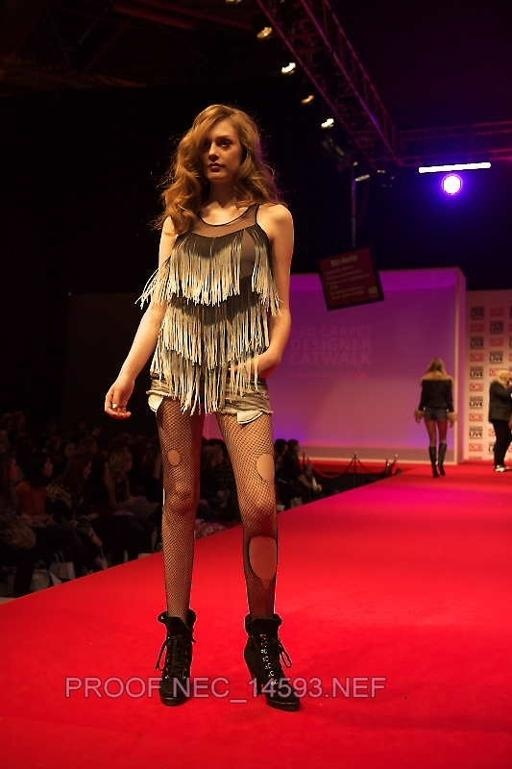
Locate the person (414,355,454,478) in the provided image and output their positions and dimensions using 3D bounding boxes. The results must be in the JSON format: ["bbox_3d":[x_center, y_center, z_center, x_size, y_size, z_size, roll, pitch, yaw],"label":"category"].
[{"bbox_3d":[1.273,0.285,4.658,0.264,0.760,0.575,0,-1,16],"label":"person"}]

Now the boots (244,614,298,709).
[{"bbox_3d":[0.032,0.540,1.281,0.089,0.141,0.163,1,-1,-12],"label":"boots"}]

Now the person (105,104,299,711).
[{"bbox_3d":[-0.107,0.000,1.382,0.411,1.225,0.304,0,-1,4],"label":"person"}]

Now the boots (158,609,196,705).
[{"bbox_3d":[-0.169,0.558,1.332,0.082,0.133,0.208,0,5,-1],"label":"boots"}]
